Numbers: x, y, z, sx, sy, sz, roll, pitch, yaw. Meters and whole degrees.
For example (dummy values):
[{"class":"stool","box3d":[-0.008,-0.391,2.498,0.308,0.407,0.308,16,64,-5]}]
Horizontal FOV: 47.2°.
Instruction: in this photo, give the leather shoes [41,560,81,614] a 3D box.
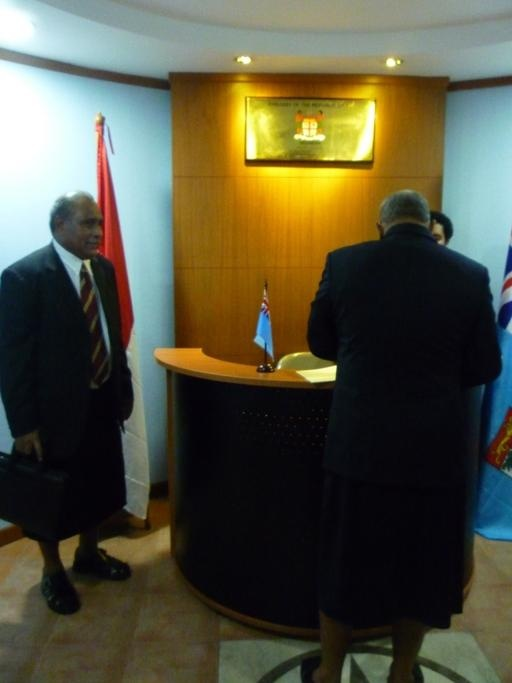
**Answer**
[{"class":"leather shoes","box3d":[-0.885,1.096,2.639,0.091,0.147,0.271,2,-2,-28]}]

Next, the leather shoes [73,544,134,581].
[{"class":"leather shoes","box3d":[-0.749,1.089,2.845,0.228,0.148,0.142,5,2,1]}]
